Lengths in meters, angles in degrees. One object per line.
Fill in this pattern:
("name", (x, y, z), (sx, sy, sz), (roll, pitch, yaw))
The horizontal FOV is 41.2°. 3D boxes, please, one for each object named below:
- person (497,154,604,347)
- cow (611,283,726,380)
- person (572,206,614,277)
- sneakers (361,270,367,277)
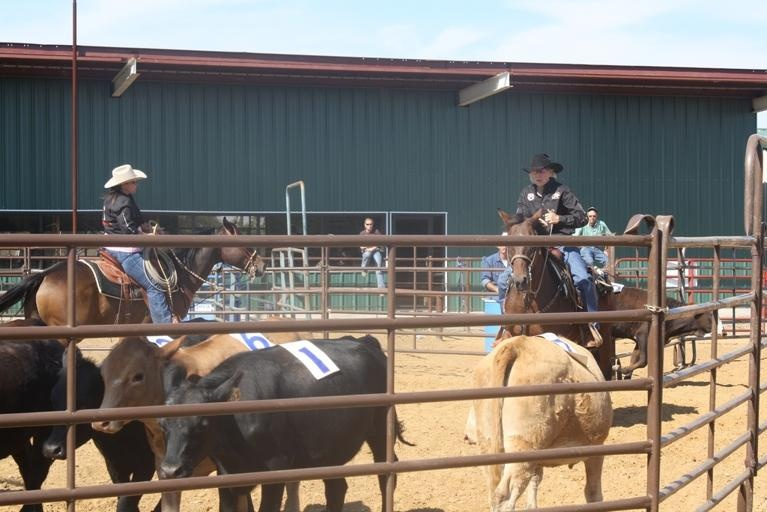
("person", (2.620, -0.161, 16.343), (1.123, 3.016, 1.085), (-1, 17, 31))
("cow", (4.320, 1.240, 16.329), (1.413, 1.393, 3.488), (-2, 0, 29))
("person", (3.947, -0.273, 19.601), (0.665, 1.277, 0.682), (8, 25, 32))
("sneakers", (-0.446, 0.405, 23.247), (0.165, 0.177, 0.212), (0, -3, 0))
